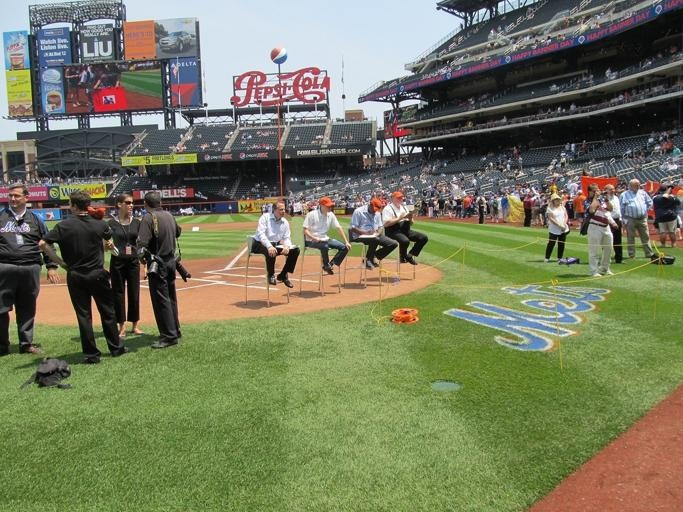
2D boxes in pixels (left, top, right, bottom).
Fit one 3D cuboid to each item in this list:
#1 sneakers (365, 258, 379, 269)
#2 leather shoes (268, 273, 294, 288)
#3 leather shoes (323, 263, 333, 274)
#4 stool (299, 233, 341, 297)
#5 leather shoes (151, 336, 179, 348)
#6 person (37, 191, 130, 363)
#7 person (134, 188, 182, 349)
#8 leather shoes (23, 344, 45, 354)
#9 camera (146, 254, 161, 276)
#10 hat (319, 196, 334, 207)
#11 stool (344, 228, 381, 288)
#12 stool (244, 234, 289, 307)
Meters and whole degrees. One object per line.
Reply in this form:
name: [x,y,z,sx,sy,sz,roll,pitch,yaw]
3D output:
sneakers: [0.662,0.200,12.518,0.176,0.204,0.500,-2,-6,-7]
leather shoes: [-1.204,0.492,10.858,0.626,0.244,0.207,3,-1,12]
leather shoes: [-0.275,0.274,11.435,0.189,0.253,0.333,-3,13,-7]
stool: [-0.690,0.305,12.657,1.311,1.596,1.064,-2,4,-5]
leather shoes: [-2.524,1.255,8.074,0.301,0.111,0.152,4,1,-18]
person: [-3.423,0.282,7.505,0.767,2.281,0.811,-6,14,-17]
person: [-2.625,0.194,8.052,0.477,2.180,0.718,-5,14,-12]
leather shoes: [-4.387,1.335,7.969,0.307,0.121,0.119,3,4,-17]
camera: [-2.634,0.130,7.862,0.210,0.248,0.271,7,-28,-41]
hat: [-0.313,-1.072,11.046,0.260,0.128,0.184,4,10,1]
stool: [0.250,0.051,12.781,0.685,1.053,0.631,9,9,-12]
stool: [-1.576,0.307,11.820,1.030,1.288,0.985,-3,2,-19]
